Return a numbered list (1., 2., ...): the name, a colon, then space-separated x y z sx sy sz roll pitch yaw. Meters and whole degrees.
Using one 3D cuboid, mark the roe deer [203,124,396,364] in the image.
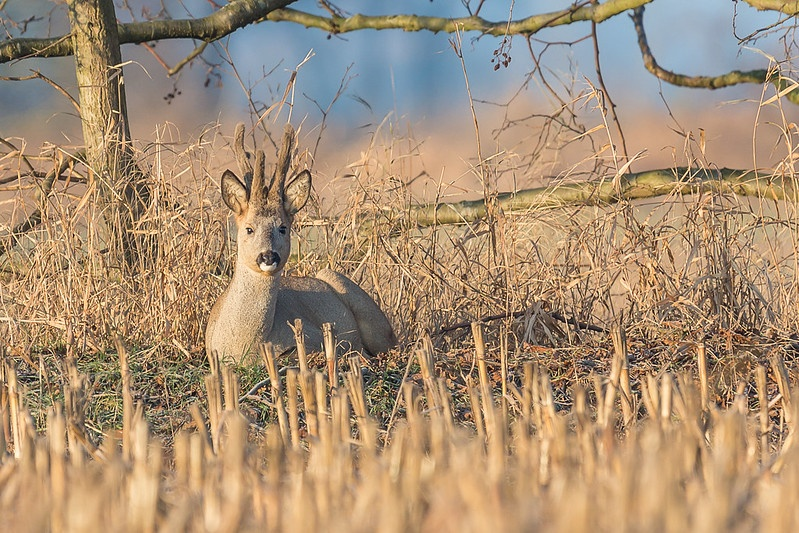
1. roe deer: -0.874 -0.050 9.617 1.088 2.045 2.031 2 2 15
